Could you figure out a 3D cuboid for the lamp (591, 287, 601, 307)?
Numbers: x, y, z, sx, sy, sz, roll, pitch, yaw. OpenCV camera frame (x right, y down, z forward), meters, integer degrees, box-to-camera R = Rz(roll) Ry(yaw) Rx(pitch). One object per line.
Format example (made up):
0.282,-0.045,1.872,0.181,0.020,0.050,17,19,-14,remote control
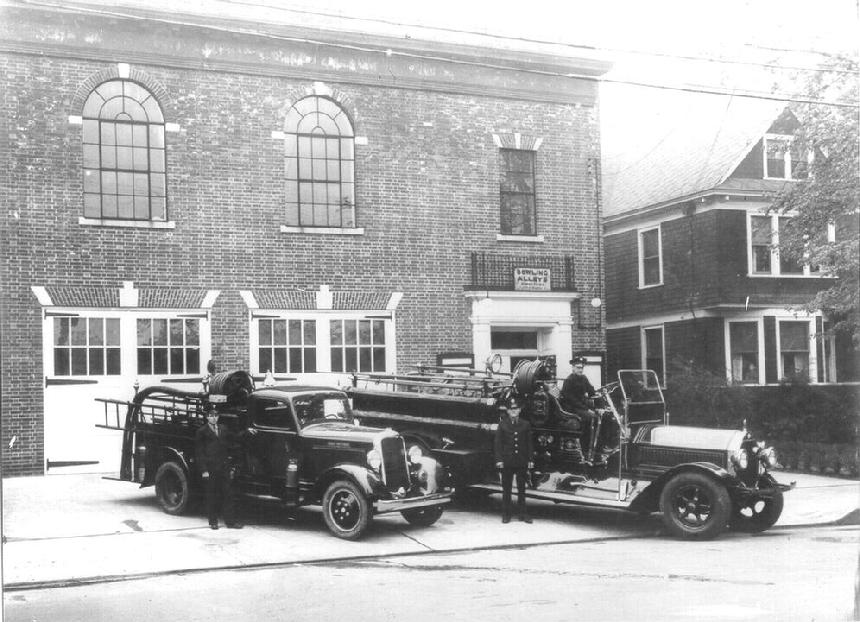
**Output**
4.635,-0.310,33.890,0.327,0.550,0.227,0,8,3,lamp

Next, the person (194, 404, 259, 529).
-4.051,2.997,24.826,0.870,2.268,0.875,-3,9,-21,person

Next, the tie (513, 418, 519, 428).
1.828,2.199,25.434,0.143,0.148,0.034,35,-4,3,tie

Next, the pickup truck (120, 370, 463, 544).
-3.205,2.773,25.481,6.265,2.658,2.902,-2,-4,27,pickup truck

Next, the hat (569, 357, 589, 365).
3.340,1.064,27.261,0.313,0.084,0.326,-1,3,35,hat

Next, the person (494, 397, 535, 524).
1.810,2.963,25.628,0.734,2.326,0.765,0,8,3,person

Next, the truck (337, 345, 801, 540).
3.008,2.694,26.094,7.479,2.730,3.733,-2,-2,33,truck
